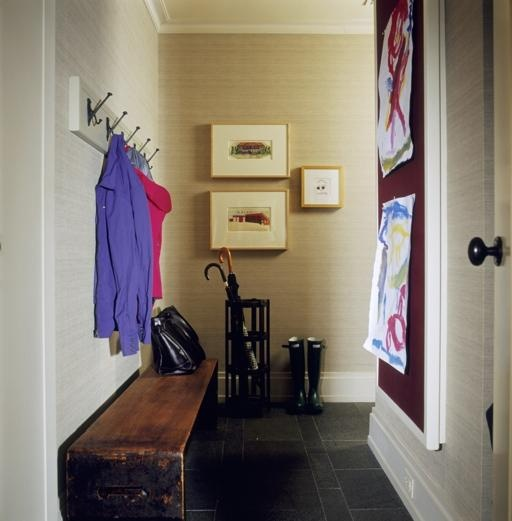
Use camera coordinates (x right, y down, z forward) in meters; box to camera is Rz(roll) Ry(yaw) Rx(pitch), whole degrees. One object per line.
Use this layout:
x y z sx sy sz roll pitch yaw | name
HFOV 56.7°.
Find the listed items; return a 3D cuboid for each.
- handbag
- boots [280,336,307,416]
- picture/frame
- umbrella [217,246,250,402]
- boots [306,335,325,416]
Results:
-0.454 0.473 2.802 0.218 0.426 0.504 -17 3 2 | handbag
0.260 0.769 3.238 0.169 0.478 0.275 1 4 3 | boots
0.102 -0.564 3.330 0.648 0.878 0.034 0 -3 -3 | picture/frame
-0.158 0.403 3.159 0.185 0.972 0.429 0 3 -5 | umbrella
0.406 0.764 3.233 0.120 0.479 0.293 1 4 8 | boots
